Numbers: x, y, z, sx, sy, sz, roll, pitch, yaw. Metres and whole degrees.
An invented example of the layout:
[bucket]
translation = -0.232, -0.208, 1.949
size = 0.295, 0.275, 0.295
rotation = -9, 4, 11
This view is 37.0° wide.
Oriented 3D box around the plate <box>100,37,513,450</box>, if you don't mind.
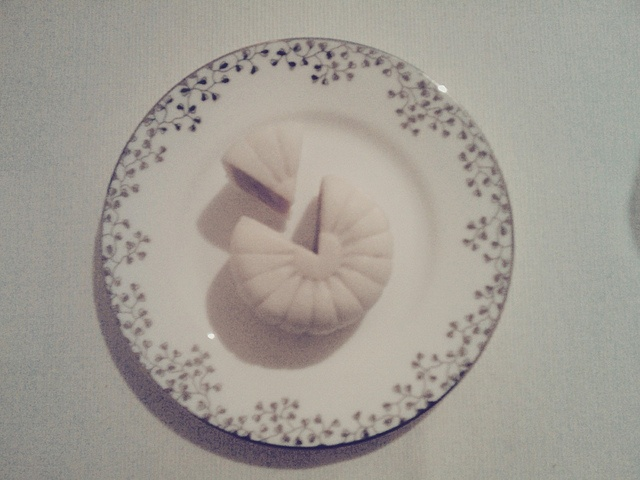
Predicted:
[plate]
translation = -0.018, 0.003, 1.290
size = 0.553, 0.069, 0.546
rotation = 11, -86, 0
